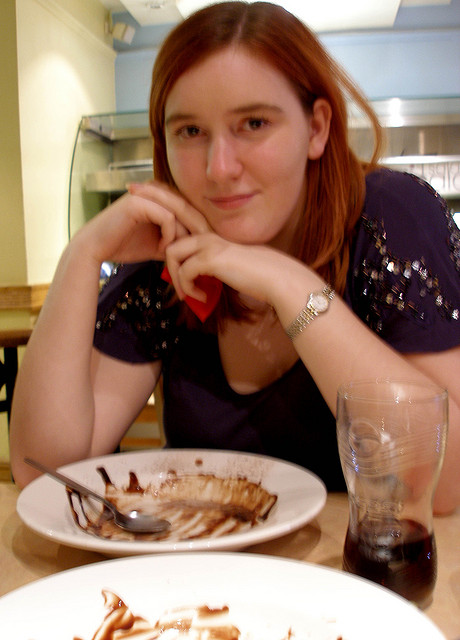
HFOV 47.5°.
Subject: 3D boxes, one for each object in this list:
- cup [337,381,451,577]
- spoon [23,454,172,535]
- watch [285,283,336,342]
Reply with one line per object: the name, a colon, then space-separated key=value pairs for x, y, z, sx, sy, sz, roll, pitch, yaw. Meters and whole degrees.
cup: x=0.140 y=0.147 z=0.463 sx=0.088 sy=0.179 sz=0.086 roll=-1 pitch=3 yaw=0
spoon: x=-0.160 y=0.222 z=0.656 sx=0.148 sy=0.019 sz=0.031 roll=26 pitch=14 yaw=6
watch: x=0.122 y=-0.010 z=0.774 sx=0.065 sy=0.074 sz=0.018 roll=50 pitch=4 yaw=38
